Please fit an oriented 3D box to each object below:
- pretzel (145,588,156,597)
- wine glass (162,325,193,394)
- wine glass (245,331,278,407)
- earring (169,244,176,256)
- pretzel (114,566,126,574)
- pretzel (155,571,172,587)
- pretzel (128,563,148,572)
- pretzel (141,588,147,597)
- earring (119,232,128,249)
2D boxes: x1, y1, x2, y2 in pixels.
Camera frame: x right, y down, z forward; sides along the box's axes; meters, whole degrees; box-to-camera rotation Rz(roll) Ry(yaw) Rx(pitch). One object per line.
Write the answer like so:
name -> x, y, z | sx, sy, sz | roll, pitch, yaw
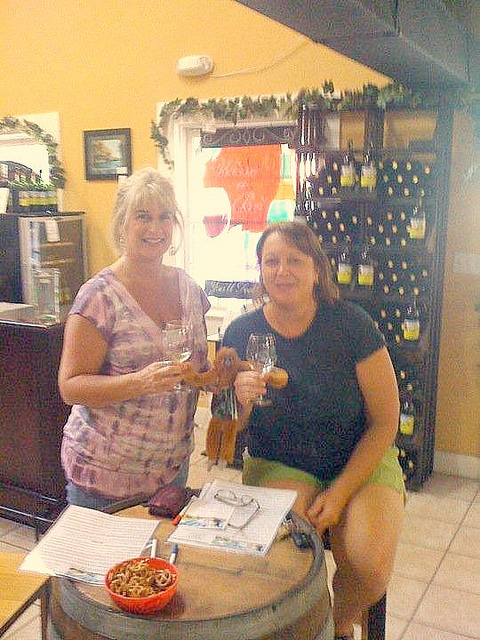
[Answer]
pretzel -> -0.102, 0.310, 0.583 | 0.007, 0.003, 0.008 | 2, 1, 10
wine glass -> -0.100, 0.040, 0.833 | 0.047, 0.066, 0.036 | -1, 11, -8
wine glass -> 0.035, 0.076, 0.774 | 0.047, 0.121, 0.044 | -10, 21, -32
earring -> -0.102, -0.108, 0.770 | 0.009, 0.015, 0.004 | 0, 2, 27
pretzel -> -0.146, 0.302, 0.622 | 0.006, 0.004, 0.009 | 8, -4, 22
pretzel -> -0.090, 0.305, 0.604 | 0.021, 0.005, 0.020 | -11, 17, -42
pretzel -> -0.124, 0.300, 0.620 | 0.023, 0.005, 0.011 | 1, 12, 3
pretzel -> -0.110, 0.311, 0.583 | 0.004, 0.007, 0.002 | -2, -8, 42
earring -> -0.180, -0.123, 0.786 | 0.014, 0.024, 0.007 | 7, 12, 29
